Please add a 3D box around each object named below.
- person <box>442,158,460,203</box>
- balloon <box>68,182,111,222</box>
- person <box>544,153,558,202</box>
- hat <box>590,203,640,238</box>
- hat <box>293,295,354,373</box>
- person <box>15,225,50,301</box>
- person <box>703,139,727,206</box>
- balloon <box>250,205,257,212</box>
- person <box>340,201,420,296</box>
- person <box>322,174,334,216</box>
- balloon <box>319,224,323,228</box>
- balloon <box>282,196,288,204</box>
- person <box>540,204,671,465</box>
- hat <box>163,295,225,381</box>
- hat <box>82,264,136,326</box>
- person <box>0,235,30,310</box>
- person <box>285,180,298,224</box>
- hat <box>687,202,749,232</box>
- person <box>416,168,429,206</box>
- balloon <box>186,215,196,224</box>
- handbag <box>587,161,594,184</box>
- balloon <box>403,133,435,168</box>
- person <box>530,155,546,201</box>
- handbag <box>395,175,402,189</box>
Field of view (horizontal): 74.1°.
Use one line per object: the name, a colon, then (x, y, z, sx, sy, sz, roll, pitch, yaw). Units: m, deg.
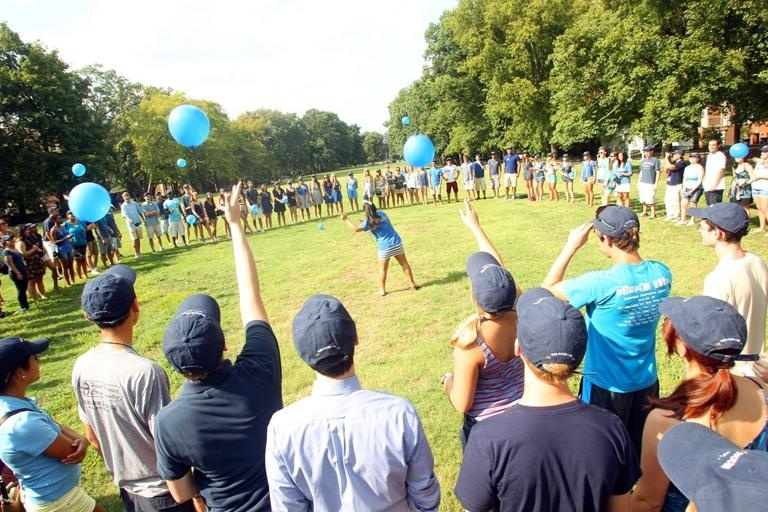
person: (2.997, -3.490, 22.844, 0.650, 1.777, 1.358, -5, 7, 7)
balloon: (-5.473, -0.989, 9.435, 0.642, 0.828, 0.691, -4, 5, -11)
person: (6.542, -3.109, 19.930, 0.458, 1.766, 1.341, -3, 7, 19)
hat: (2.644, -0.470, 5.843, 0.521, 0.321, 0.460, -5, 21, 14)
hat: (-0.607, 0.603, 4.842, 0.587, 0.343, 0.885, -19, 41, -6)
person: (-9.049, 0.138, 13.167, 0.570, 1.991, 0.665, -8, 11, -5)
person: (8.291, -2.106, 12.767, 0.477, 1.656, 1.862, -1, 8, 32)
balloon: (-5.119, -1.919, 19.979, 0.229, 0.133, 0.231, -23, 9, -28)
person: (-0.094, -0.175, 11.244, 1.263, 2.247, 0.718, -16, 19, 2)
person: (-2.522, -2.728, 22.877, 0.430, 1.802, 1.479, -6, 7, -7)
balloon: (-2.286, -1.104, 18.444, 0.147, 0.142, 0.177, -3, 24, 6)
balloon: (-4.155, -2.395, 21.236, 0.187, 0.357, 0.267, -3, 7, 19)
person: (2.827, 1.218, 6.261, 1.275, 3.814, 1.020, -10, 22, -2)
hat: (-1.877, 0.677, 5.056, 0.529, 0.928, 0.435, 0, -26, -5)
hat: (-2.948, 0.427, 5.639, 0.436, 0.811, 0.395, -3, -20, 6)
person: (-8.987, 0.409, 12.442, 0.442, 1.502, 1.024, -10, 8, -35)
person: (-3.943, -2.292, 21.709, 0.486, 1.746, 0.798, -7, 6, -11)
hat: (4.036, -0.464, 6.156, 0.367, 0.264, 0.548, -40, 42, -22)
person: (1.759, -3.197, 23.266, 0.496, 1.613, 0.789, -7, 7, -18)
balloon: (-6.910, -1.341, 18.184, 0.204, 0.222, 0.244, 30, -4, -5)
handbag: (7.024, -2.877, 17.250, 0.360, 0.715, 0.181, -10, 8, -32)
balloon: (0.628, -1.966, 9.421, 0.541, 0.592, 1.211, -6, 7, 3)
person: (6.391, -3.198, 20.972, 0.466, 1.619, 2.525, -3, 8, 17)
handbag: (0.687, -3.504, 23.890, 0.346, 0.563, 0.499, 2, 3, 42)
